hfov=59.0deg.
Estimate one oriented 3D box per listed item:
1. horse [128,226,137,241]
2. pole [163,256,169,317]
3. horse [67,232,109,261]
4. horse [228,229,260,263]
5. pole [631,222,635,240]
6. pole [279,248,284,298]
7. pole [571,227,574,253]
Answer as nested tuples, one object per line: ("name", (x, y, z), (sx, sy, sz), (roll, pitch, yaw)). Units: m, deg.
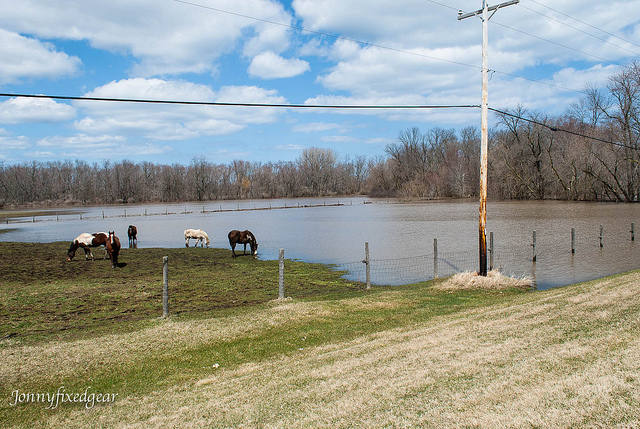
("horse", (-13.702, 1.413, 41.475), (0.442, 1.141, 1.168), (-3, 5, -21))
("pole", (-5.839, 2.759, 21.405), (0.215, 2.303, 0.609), (-2, 5, -16))
("horse", (-14.206, 1.943, 34.565), (2.105, 1.664, 3.083), (-3, 5, -25))
("horse", (-5.196, 2.071, 38.285), (2.450, 1.884, 0.699), (14, -15, -43))
("pole", (20.011, 1.159, 36.345), (0.095, 0.957, 0.468), (1, 5, 20))
("pole", (-1.575, 2.416, 23.142), (0.105, 1.975, 0.270), (0, 5, 11))
("pole", (14.952, 1.573, 33.581), (0.140, 1.435, 0.776), (1, 5, 24))
